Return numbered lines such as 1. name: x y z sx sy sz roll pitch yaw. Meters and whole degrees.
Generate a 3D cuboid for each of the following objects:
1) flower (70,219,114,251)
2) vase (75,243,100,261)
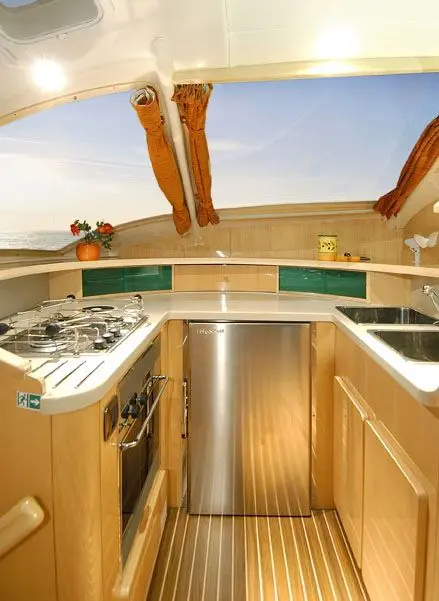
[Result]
1. flower: -0.695 -0.363 2.359 0.120 0.153 0.306 2 6 18
2. vase: -0.711 -0.255 2.319 0.097 0.087 0.101 -1 4 0
